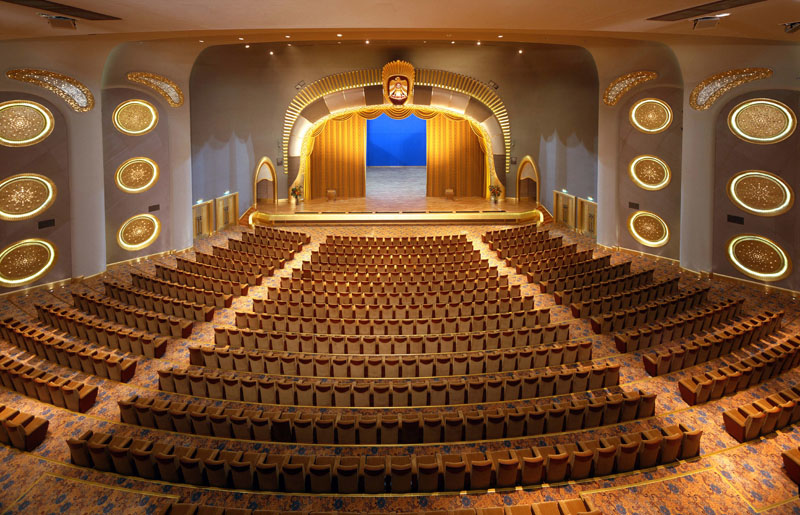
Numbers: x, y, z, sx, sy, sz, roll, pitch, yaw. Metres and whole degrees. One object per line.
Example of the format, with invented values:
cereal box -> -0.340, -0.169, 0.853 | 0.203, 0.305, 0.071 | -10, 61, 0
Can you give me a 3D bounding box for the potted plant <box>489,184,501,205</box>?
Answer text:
potted plant -> 3.880, -2.616, 21.202 | 0.538, 0.705, 0.474 | 8, 12, 36
